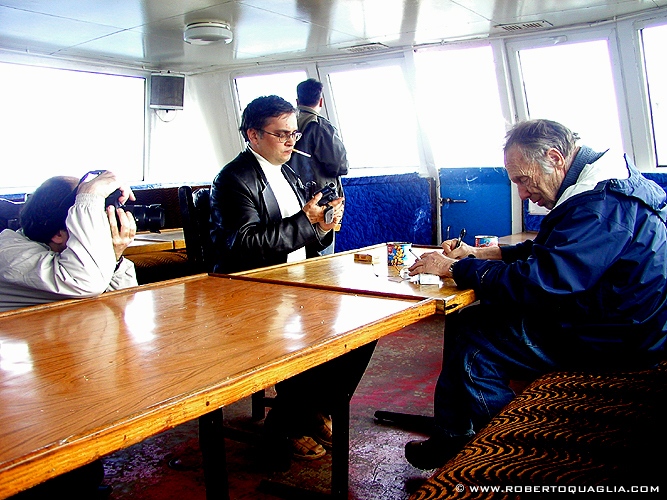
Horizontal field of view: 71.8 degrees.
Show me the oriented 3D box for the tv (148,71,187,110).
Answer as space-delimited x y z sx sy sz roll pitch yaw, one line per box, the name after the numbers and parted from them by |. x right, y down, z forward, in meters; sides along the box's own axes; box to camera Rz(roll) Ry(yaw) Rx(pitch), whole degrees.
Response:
-2.107 -1.981 5.687 0.497 0.423 0.495 17 23 27 | tv

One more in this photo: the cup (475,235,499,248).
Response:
0.827 -0.049 2.516 0.117 0.073 0.112 -1 9 0 | cup

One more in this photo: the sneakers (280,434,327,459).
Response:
-0.153 0.981 2.323 0.217 0.073 0.097 1 9 13 | sneakers

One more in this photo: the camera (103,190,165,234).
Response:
-0.836 -0.169 1.965 0.233 0.091 0.206 0 8 -8 | camera

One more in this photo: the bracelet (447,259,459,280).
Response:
0.499 0.084 1.963 0.029 0.067 0.054 17 10 3 | bracelet

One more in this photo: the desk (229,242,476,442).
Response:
0.143 0.383 2.169 0.664 0.221 0.947 6 15 30 | desk

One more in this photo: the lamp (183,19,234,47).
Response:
-1.095 -1.922 4.056 0.404 0.135 0.225 -3 10 -13 | lamp
